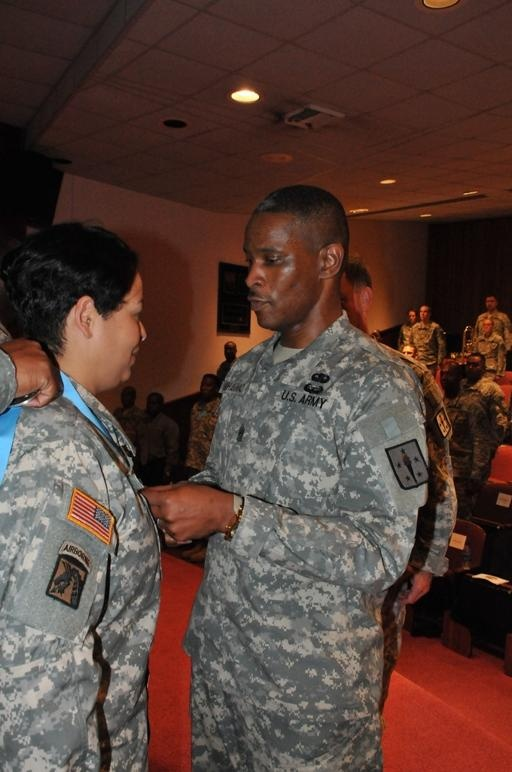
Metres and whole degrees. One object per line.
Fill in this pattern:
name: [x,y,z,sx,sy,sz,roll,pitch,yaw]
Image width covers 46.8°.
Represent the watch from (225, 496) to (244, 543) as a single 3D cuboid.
watch: [-0.042,0.260,1.161,0.030,0.071,0.064,9,0,1]
